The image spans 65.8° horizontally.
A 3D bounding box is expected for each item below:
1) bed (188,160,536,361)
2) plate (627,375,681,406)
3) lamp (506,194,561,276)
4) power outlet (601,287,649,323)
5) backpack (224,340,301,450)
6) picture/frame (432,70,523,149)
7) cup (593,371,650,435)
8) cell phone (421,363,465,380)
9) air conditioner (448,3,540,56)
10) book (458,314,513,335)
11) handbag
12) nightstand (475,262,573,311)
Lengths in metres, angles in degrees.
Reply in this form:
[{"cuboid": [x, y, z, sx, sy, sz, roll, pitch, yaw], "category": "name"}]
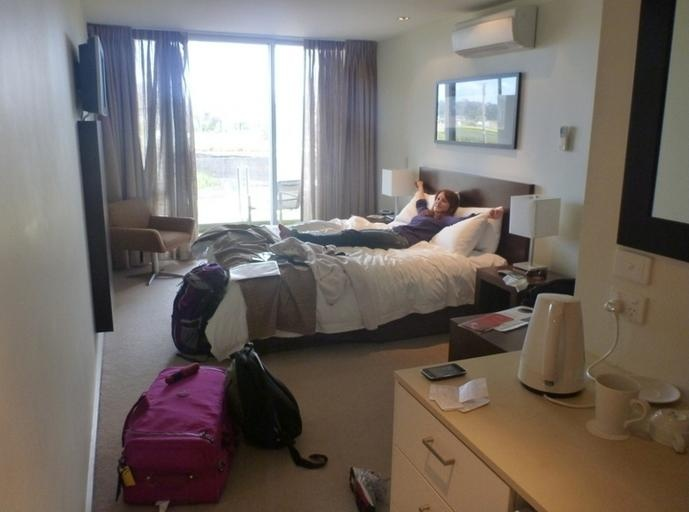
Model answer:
[{"cuboid": [0.101, 0.154, 4.435, 1.884, 0.938, 1.960, -5, 16, -14], "category": "bed"}, {"cuboid": [1.107, 0.481, 1.880, 0.132, 0.028, 0.136, -11, 14, -25], "category": "plate"}, {"cuboid": [1.522, -0.193, 4.289, 0.291, 0.565, 0.291, -8, 15, -23], "category": "lamp"}, {"cuboid": [1.050, 0.191, 2.043, 0.088, 0.117, 0.191, -8, 15, -23], "category": "power outlet"}, {"cuboid": [-0.482, 0.822, 3.083, 0.319, 0.601, 0.472, -11, 7, -23], "category": "backpack"}, {"cuboid": [1.297, -1.396, 5.183, 0.046, 0.674, 1.072, -9, 15, -26], "category": "picture/frame"}, {"cuboid": [0.908, 0.491, 1.755, 0.158, 0.183, 0.132, 5, 15, 27], "category": "cup"}, {"cuboid": [0.382, 0.444, 2.047, 0.112, 0.017, 0.069, -6, 15, -19], "category": "cell phone"}, {"cuboid": [1.328, -1.977, 4.743, 0.276, 0.341, 0.805, -8, 15, -22], "category": "air conditioner"}, {"cuboid": [0.778, 0.370, 2.936, 0.132, 0.037, 0.137, -13, 19, -30], "category": "book"}, {"cuboid": [-0.813, 0.885, 2.668, 0.495, 0.335, 0.646, 1, 20, -6], "category": "handbag"}, {"cuboid": [1.394, 0.217, 4.190, 0.466, 0.536, 0.480, -5, 17, -18], "category": "nightstand"}]
